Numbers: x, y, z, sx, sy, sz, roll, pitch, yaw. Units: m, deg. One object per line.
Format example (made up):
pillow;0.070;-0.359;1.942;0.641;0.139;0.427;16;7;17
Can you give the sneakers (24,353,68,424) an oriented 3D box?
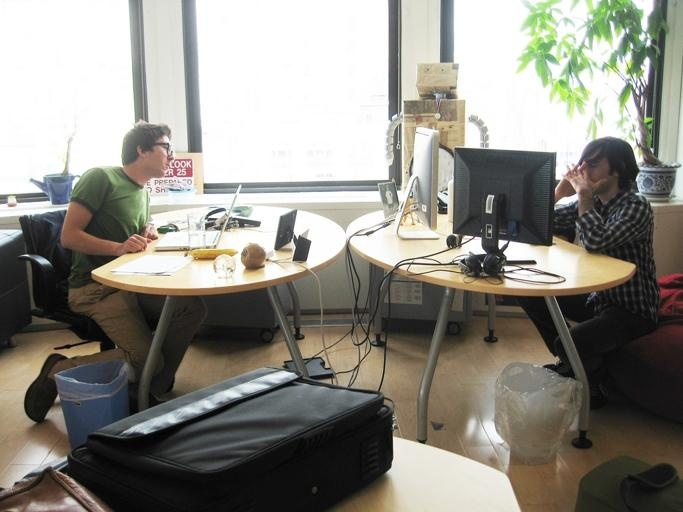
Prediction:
sneakers;-1.554;0.707;2.837;0.155;0.443;0.169;21;-3;-31

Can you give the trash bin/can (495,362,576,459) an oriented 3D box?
trash bin/can;0.877;0.753;2.657;0.363;0.471;0.392;3;12;12

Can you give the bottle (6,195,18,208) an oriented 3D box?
bottle;-2.470;-0.400;4.017;0.095;0.095;0.097;-1;6;-4

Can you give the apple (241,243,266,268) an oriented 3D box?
apple;-0.400;0.007;2.395;0.086;0.115;0.093;7;0;42

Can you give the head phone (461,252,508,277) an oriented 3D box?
head phone;0.629;0.044;2.396;0.199;0.100;0.098;6;5;12

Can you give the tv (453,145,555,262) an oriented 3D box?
tv;0.752;-0.236;2.481;0.486;0.450;0.167;9;17;35

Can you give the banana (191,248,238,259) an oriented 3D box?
banana;-0.619;-0.006;2.567;0.180;0.047;0.043;2;0;-3

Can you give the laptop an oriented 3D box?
laptop;-0.764;-0.141;2.842;0.366;0.255;0.408;3;19;3

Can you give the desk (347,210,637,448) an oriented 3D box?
desk;0.678;0.133;2.617;0.891;0.846;1.673;-4;17;-4
